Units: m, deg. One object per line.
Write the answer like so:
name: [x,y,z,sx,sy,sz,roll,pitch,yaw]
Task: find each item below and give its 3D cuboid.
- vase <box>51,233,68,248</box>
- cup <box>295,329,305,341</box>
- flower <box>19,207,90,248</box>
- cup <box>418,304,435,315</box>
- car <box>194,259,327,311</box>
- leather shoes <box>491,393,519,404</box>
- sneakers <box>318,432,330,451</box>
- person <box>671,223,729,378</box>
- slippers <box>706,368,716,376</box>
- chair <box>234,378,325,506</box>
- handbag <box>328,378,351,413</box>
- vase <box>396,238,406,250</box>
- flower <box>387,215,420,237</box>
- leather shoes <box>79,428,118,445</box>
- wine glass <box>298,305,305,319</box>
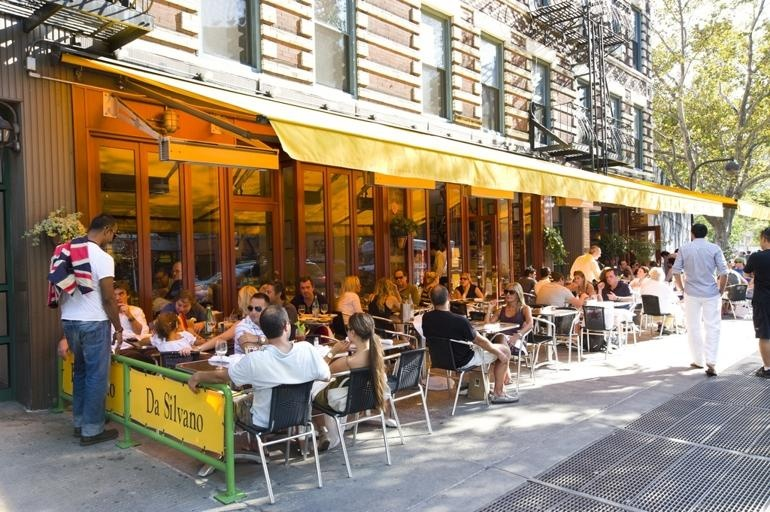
vase: [-4.842,-0.241,10.048,0.244,0.204,0.259,2,11,-4]
cup: [-1.199,1.138,9.570,0.136,0.176,0.137,0,-12,0]
flower: [-4.877,-0.404,10.025,0.705,0.479,0.699,2,2,-20]
cup: [0.796,1.091,13.409,0.292,0.229,0.317,-3,0,0]
car: [-2.147,0.562,12.256,2.092,1.235,0.980,-1,2,-4]
leather shoes: [1.852,2.216,10.462,0.329,0.124,0.178,-2,-3,-5]
sneakers: [-0.819,2.532,9.066,0.141,0.231,0.225,3,14,5]
person: [5.639,0.740,11.924,0.886,2.654,0.689,-2,-5,43]
slippers: [5.557,2.000,11.460,0.154,0.156,0.106,-3,2,8]
chair: [-1.257,2.234,8.400,0.938,1.387,1.144,-2,0,-8]
handbag: [-0.582,1.778,8.524,0.272,0.425,0.078,-2,0,-9]
vase: [0.415,-0.297,15.989,0.212,0.192,0.228,0,-6,5]
flower: [0.466,-0.682,15.897,0.515,0.396,0.582,2,-2,26]
leather shoes: [-3.840,2.481,9.157,0.496,0.220,0.178,-6,8,-40]
wine glass: [-1.475,1.039,12.366,0.161,0.260,0.166,-1,-6,2]
